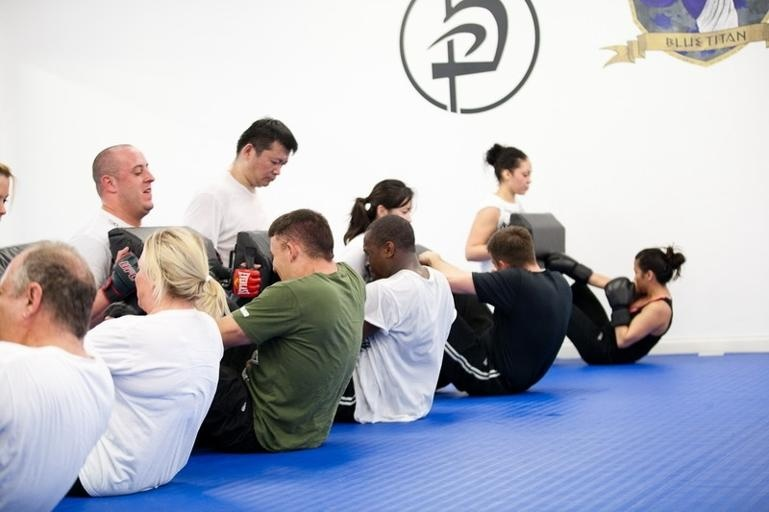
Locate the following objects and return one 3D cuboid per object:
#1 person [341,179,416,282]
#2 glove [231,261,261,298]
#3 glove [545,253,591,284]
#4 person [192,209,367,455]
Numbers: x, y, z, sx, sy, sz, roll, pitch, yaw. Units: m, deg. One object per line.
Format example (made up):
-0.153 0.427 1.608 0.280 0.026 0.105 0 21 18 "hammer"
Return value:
-0.065 -0.284 3.972 0.554 0.738 0.827 -3 6 -5 "person"
-0.762 0.136 3.178 0.183 0.195 0.145 -1 3 -14 "glove"
1.608 0.105 5.057 0.320 0.154 0.245 22 33 6 "glove"
-0.529 0.418 3.362 1.073 1.418 1.015 1 -1 29 "person"
